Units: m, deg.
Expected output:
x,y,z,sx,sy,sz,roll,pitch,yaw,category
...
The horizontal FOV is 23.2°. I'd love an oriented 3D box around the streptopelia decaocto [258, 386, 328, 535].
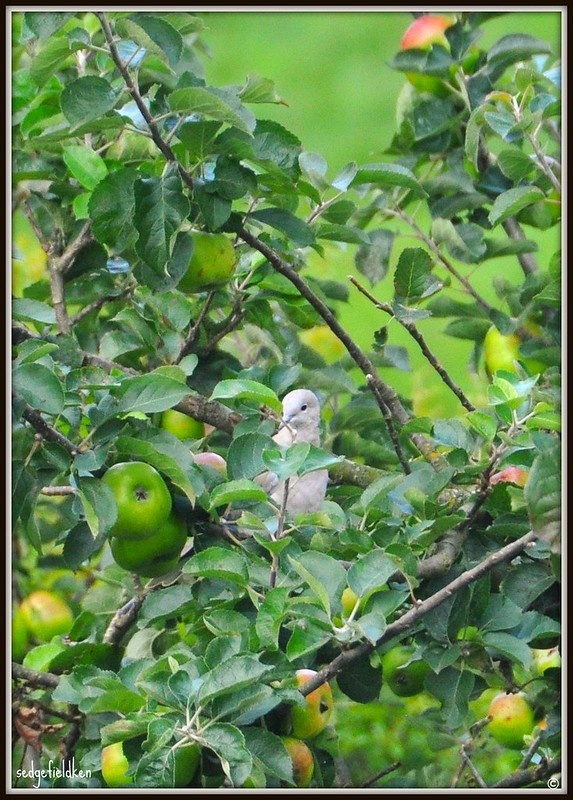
x,y,z,sx,sy,sz,roll,pitch,yaw,category
-0.007,0.103,2.498,0.159,0.270,0.093,-1,-1,36,streptopelia decaocto
